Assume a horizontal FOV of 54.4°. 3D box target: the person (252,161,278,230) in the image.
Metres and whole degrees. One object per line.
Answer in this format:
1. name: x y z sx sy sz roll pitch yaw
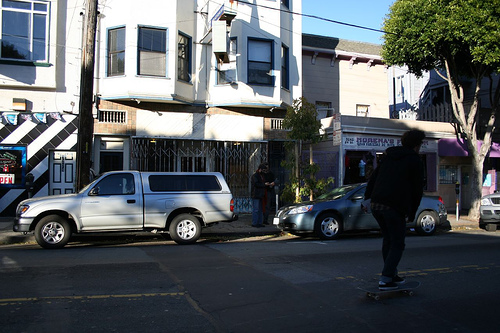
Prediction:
1. person: 0.470 1.130 19.368 0.807 2.479 1.347 2 6 12

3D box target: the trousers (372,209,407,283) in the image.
1. trousers: 2.995 1.673 10.452 0.617 1.557 0.516 3 6 21

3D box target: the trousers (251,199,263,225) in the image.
1. trousers: 0.299 1.782 19.147 0.401 1.014 0.491 0 6 1

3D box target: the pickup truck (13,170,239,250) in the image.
1. pickup truck: -3.961 1.469 16.619 6.696 2.553 2.744 2 -8 -12

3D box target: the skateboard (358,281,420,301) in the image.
1. skateboard: 3.038 2.642 10.441 1.427 0.267 0.452 -4 -2 -12
